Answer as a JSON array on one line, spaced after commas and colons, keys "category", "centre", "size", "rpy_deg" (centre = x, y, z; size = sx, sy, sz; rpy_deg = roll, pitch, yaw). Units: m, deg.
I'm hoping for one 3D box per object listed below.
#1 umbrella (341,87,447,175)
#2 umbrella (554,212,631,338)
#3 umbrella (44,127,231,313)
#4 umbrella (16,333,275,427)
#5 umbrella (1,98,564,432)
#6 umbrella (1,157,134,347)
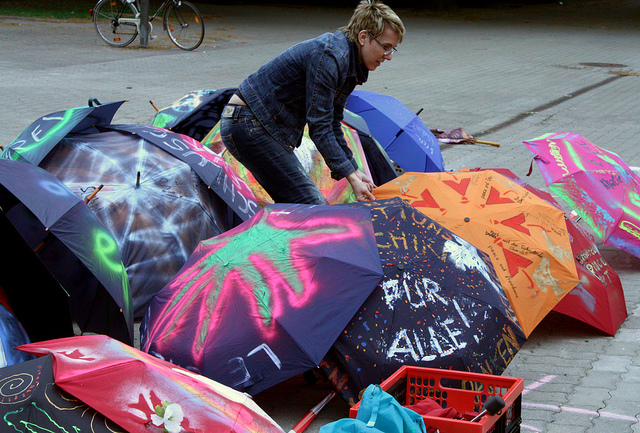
[{"category": "umbrella", "centre": [1.064, -0.869, 6.556], "size": [0.745, 0.840, 0.714], "rpy_deg": [-21, 43, 34]}, {"category": "umbrella", "centre": [2.058, 0.481, 4.428], "size": [0.250, 0.780, 0.792], "rpy_deg": [-35, -15, 22]}, {"category": "umbrella", "centre": [-1.435, -0.015, 4.886], "size": [1.666, 0.588, 1.684], "rpy_deg": [-16, 16, -19]}, {"category": "umbrella", "centre": [-0.820, 0.827, 2.693], "size": [1.106, 0.411, 0.403], "rpy_deg": [3, 20, 2]}, {"category": "umbrella", "centre": [-0.545, 0.666, 4.283], "size": [2.527, 0.938, 2.534], "rpy_deg": [-14, 33, -12]}, {"category": "umbrella", "centre": [-1.563, 0.262, 3.582], "size": [0.787, 0.776, 0.709], "rpy_deg": [38, 57, 25]}]
